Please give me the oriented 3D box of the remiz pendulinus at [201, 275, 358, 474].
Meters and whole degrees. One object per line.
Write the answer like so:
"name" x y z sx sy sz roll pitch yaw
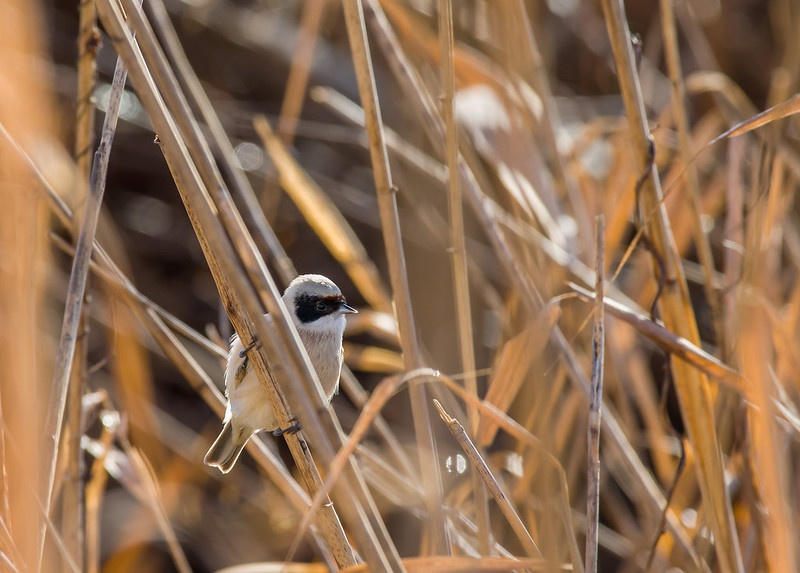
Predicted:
"remiz pendulinus" -0.508 0.362 4.967 0.618 0.680 0.912 -10 9 40
